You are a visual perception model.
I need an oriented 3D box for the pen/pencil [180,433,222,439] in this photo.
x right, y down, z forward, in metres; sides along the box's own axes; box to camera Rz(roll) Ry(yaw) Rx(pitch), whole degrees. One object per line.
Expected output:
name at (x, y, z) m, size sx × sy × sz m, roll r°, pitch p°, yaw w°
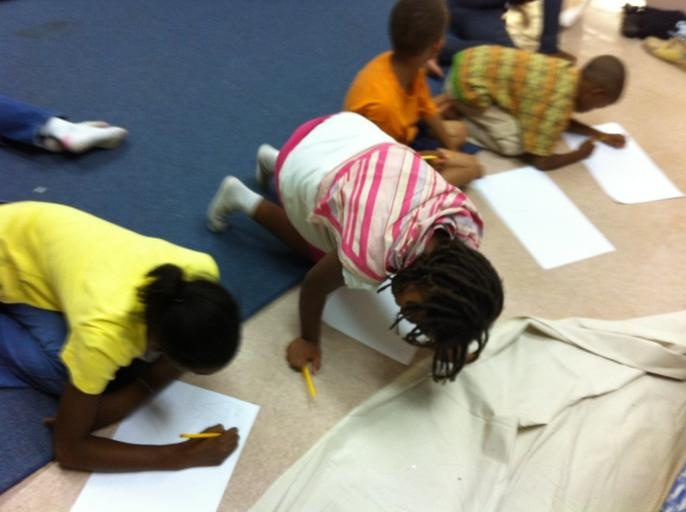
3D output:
pen/pencil at (-0.437, 0.562, 1.995) m, size 0.136 × 0.017 × 0.016 m, roll 0°, pitch 17°, yaw -7°
